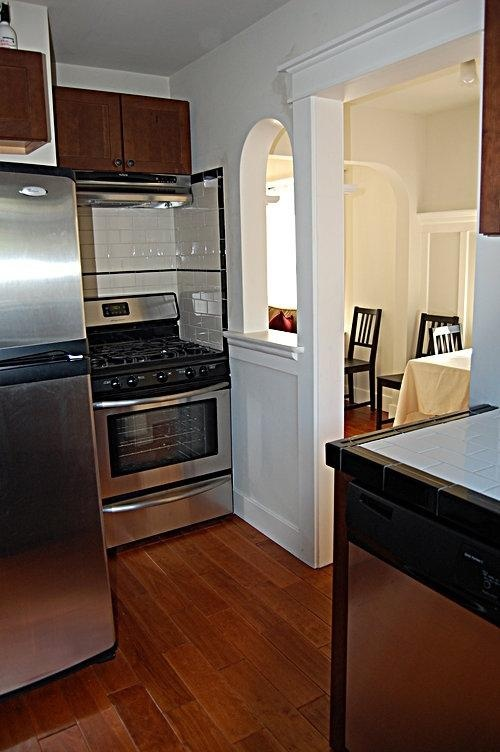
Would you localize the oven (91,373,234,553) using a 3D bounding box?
[{"bbox_3d":[-0.466,0.398,3.052,0.809,1.034,0.665,-8,9,-33],"label":"oven"}]

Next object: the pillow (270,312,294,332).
[{"bbox_3d":[0.334,-0.484,4.909,0.237,0.160,0.242,-2,9,-32],"label":"pillow"}]
